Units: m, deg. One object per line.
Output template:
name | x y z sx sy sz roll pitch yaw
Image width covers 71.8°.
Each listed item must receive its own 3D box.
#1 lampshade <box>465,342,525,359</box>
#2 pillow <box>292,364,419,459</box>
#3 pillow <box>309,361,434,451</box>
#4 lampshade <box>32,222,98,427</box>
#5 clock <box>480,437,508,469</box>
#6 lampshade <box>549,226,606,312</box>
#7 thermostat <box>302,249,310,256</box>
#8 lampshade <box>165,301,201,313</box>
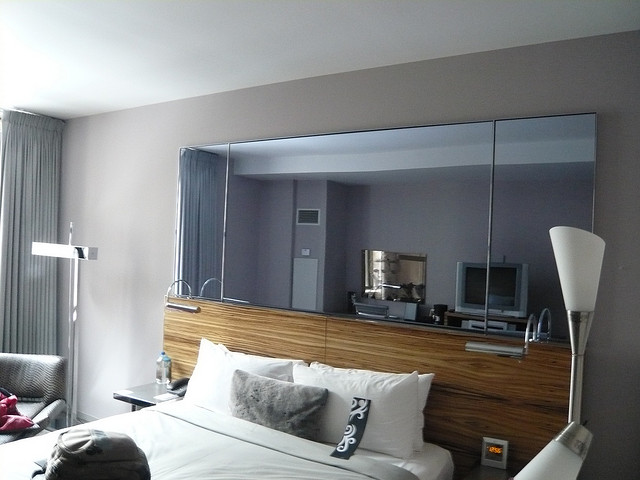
lampshade | 0.986 0.623 2.498 0.306 0.080 0.079 1 0 19
pillow | 0.184 1.060 2.764 0.792 0.499 0.264 6 -7 3
pillow | 0.328 1.039 2.693 0.482 0.316 0.141 -2 -23 34
lampshade | -2.385 0.841 4.106 0.473 2.027 0.926 1 0 -33
clock | 1.035 1.272 2.629 0.140 0.018 0.165 -2 43 28
lampshade | 1.168 0.138 2.017 0.213 0.420 0.137 1 0 -22
thermostat | -0.100 0.100 3.245 0.071 0.062 0.037 -1 -4 33
lampshade | -1.116 0.558 3.648 0.275 0.065 0.063 9 23 26
